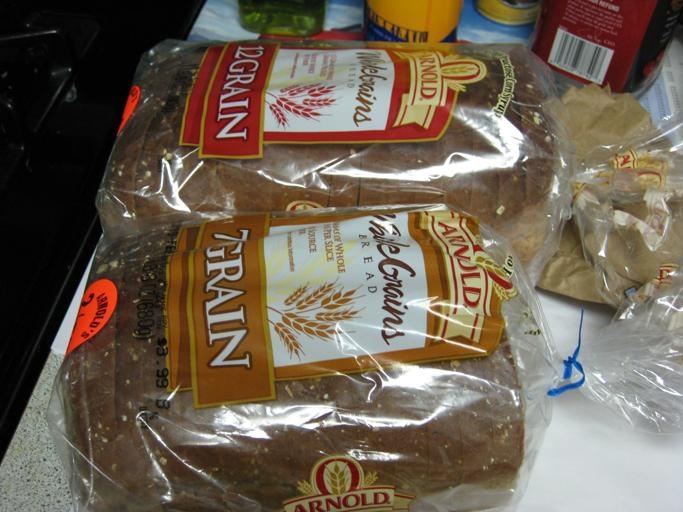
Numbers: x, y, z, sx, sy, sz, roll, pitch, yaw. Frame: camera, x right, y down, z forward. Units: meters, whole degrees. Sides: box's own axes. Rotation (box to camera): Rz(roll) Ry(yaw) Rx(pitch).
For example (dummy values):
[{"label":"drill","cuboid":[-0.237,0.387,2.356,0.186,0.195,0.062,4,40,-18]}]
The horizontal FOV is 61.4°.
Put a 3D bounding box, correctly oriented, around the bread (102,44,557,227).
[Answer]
[{"label":"bread","cuboid":[-0.005,-0.150,0.810,0.488,0.141,0.271,2,61,-1]}]
